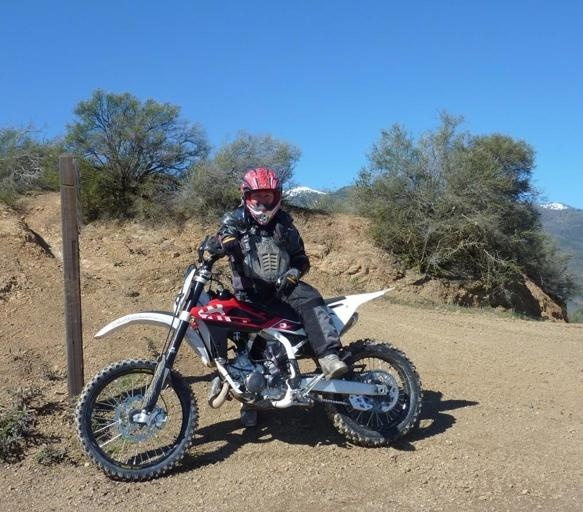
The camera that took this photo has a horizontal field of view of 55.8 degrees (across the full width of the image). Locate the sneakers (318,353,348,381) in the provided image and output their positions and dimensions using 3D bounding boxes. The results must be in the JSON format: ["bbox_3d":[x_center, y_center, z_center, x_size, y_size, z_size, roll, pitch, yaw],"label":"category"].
[{"bbox_3d":[0.379,1.035,5.044,0.155,0.264,0.295,-5,8,-36],"label":"sneakers"}]

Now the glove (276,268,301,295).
[{"bbox_3d":[-0.043,0.243,5.137,0.268,0.150,0.088,-43,-5,1],"label":"glove"}]

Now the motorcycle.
[{"bbox_3d":[-0.419,0.854,5.224,3.039,2.061,0.801,-2,7,-13],"label":"motorcycle"}]

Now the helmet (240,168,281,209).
[{"bbox_3d":[-0.299,-0.672,5.389,0.291,0.322,0.388,0,-1,-9],"label":"helmet"}]
